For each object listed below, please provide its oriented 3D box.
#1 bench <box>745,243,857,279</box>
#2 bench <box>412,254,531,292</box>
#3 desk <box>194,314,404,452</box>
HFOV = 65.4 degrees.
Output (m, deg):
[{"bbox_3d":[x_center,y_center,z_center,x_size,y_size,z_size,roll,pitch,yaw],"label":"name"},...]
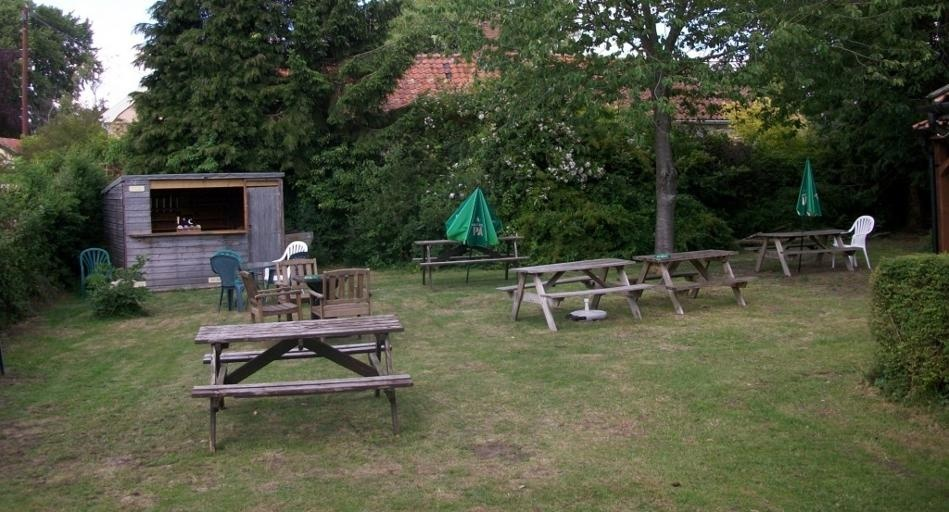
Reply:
[{"bbox_3d":[9.689,-0.138,21.991,2.637,1.158,4.027,-4,2,22],"label":"bench"},{"bbox_3d":[-0.225,0.730,22.555,2.689,0.489,1.102,-3,11,-23],"label":"bench"},{"bbox_3d":[-3.726,1.978,14.798,4.054,1.741,2.616,-1,-2,-13],"label":"desk"}]
